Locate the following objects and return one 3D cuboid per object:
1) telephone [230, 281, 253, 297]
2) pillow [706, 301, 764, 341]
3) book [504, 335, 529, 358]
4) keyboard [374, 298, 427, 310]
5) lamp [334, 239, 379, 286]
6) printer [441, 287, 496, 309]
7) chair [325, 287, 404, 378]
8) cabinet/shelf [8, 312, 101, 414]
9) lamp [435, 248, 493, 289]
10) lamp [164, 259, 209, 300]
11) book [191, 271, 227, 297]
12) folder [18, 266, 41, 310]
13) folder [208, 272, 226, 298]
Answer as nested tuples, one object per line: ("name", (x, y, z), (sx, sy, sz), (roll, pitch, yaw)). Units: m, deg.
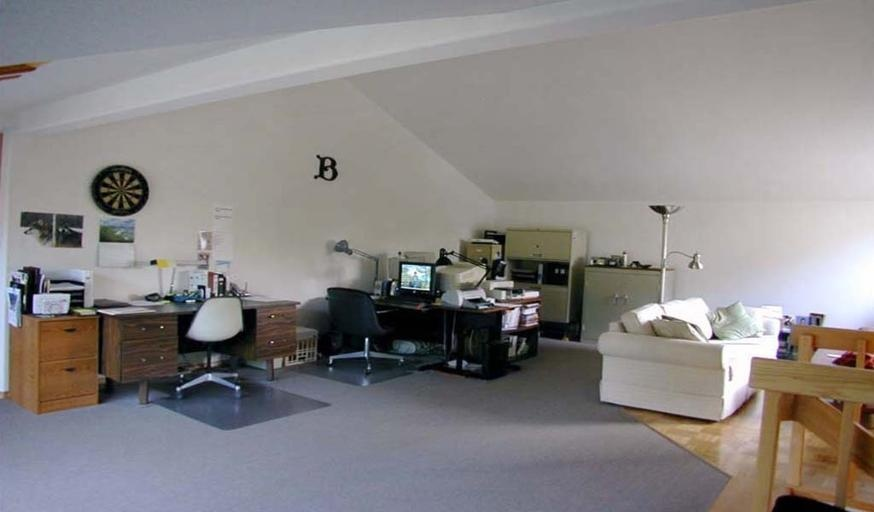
("telephone", (-2.433, 0.429, 7.208), (0.369, 0.133, 0.122), (0, 4, 44))
("pillow", (3.893, 0.874, 7.602), (0.540, 0.165, 0.511), (-19, 45, 7))
("book", (1.123, 1.263, 8.154), (0.100, 0.312, 0.375), (8, 2, 33))
("keyboard", (-0.446, 0.627, 7.594), (0.363, 0.076, 0.233), (9, 14, 42))
("lamp", (-1.145, 0.069, 8.435), (0.777, 0.664, 0.176), (-9, 17, -42))
("printer", (0.416, 0.535, 7.508), (0.686, 0.199, 0.486), (0, 12, -7))
("chair", (-0.962, 0.945, 7.890), (1.151, 1.132, 1.065), (4, 5, 38))
("cabinet/shelf", (-3.887, 1.068, 6.170), (0.994, 1.146, 0.837), (0, 1, 40))
("lamp", (0.300, 0.218, 8.288), (0.668, 0.545, 0.668), (5, 7, 41))
("lamp", (-2.994, 0.254, 7.041), (0.585, 0.518, 0.395), (1, -4, -40))
("book", (-2.716, 0.344, 6.919), (0.262, 0.237, 0.139), (9, 21, 14))
("folder", (-4.071, 0.332, 5.888), (0.170, 0.417, 0.341), (-6, 15, -33))
("folder", (-2.623, 0.355, 6.935), (0.154, 0.242, 0.278), (-5, 8, -39))
